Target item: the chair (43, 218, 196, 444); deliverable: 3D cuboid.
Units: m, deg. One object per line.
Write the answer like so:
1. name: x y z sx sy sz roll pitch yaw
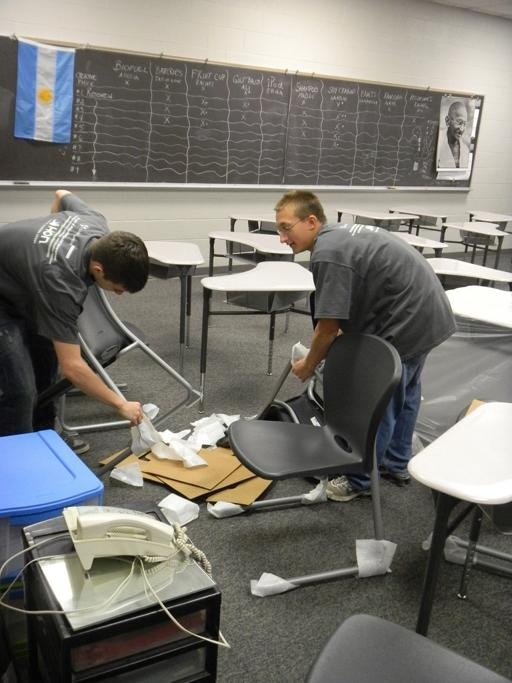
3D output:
1. chair: -0.594 -0.082 2.224 0.606 0.812 0.475 2 3 -10

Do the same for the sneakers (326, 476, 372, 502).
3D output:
1. sneakers: 0.389 0.616 2.139 0.189 0.090 0.077 3 8 -14

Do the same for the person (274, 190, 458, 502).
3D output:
1. person: 0.433 0.028 2.090 0.758 1.131 0.480 2 12 7

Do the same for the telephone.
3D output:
1. telephone: -0.231 0.319 0.896 0.149 0.076 0.107 -2 9 -23

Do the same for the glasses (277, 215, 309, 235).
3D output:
1. glasses: 0.134 -0.437 1.930 0.069 0.021 0.065 -29 19 -21
